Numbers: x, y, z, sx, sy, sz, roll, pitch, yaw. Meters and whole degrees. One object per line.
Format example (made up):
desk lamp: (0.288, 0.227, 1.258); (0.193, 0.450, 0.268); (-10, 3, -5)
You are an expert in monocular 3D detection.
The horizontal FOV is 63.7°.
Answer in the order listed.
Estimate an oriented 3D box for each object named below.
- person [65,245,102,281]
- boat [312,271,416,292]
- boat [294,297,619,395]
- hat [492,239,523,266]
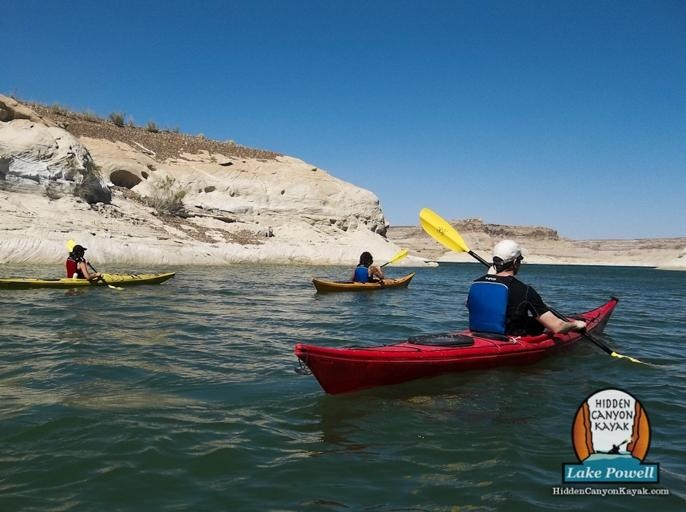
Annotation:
person: (-6.777, 0.192, 14.430); (0.802, 0.967, 1.214); (3, -2, -23)
boat: (1.144, 0.808, 16.916); (4.716, 0.407, 0.931); (1, 3, -39)
boat: (1.189, 1.330, 6.979); (4.105, 0.632, 0.505); (2, -2, -29)
hat: (2.054, -0.031, 7.008); (0.372, 0.178, 0.536); (6, 18, 40)
